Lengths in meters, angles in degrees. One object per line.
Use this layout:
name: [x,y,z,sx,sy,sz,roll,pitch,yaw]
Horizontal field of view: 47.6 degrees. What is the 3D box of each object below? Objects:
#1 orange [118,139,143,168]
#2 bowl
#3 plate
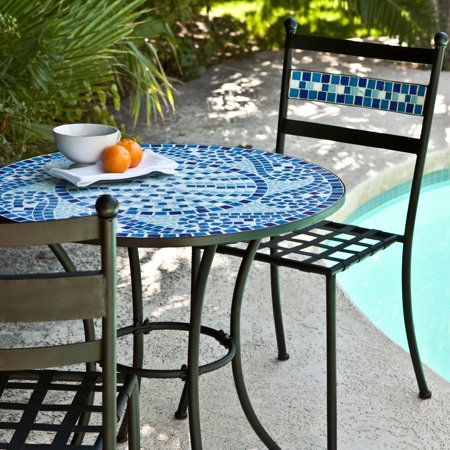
orange: [-0.249,-0.202,1.433,0.088,0.080,0.077,-6,8,-11]
bowl: [-0.386,-0.225,1.435,0.203,0.076,0.143,2,17,-6]
plate: [-0.286,-0.143,1.360,0.232,0.045,0.162,-10,19,-30]
